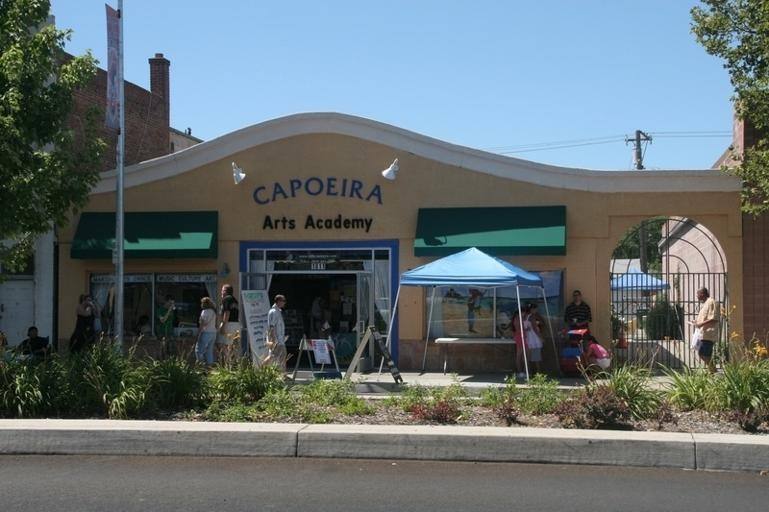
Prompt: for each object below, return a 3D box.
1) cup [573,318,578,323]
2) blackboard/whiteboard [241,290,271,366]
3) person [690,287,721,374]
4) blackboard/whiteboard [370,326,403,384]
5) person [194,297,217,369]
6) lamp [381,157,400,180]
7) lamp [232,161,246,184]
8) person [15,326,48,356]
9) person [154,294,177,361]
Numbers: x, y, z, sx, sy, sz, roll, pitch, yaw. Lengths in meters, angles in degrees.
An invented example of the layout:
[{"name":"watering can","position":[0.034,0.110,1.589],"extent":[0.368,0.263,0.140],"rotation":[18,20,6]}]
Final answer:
[{"name":"cup","position":[5.095,1.767,29.994],"extent":[0.084,0.125,0.038],"rotation":[0,-2,24]},{"name":"blackboard/whiteboard","position":[-3.329,1.873,29.150],"extent":[0.110,2.379,1.654],"rotation":[-3,3,21]},{"name":"person","position":[8.243,1.874,28.738],"extent":[0.669,2.180,1.496],"rotation":[-2,-10,16]},{"name":"blackboard/whiteboard","position":[0.058,2.705,29.905],"extent":[0.182,1.432,0.220],"rotation":[-9,-16,-45]},{"name":"person","position":[-4.694,2.016,29.455],"extent":[0.479,1.791,1.050],"rotation":[2,-10,-9]},{"name":"lamp","position":[0.151,-2.399,31.272],"extent":[0.510,0.601,0.428],"rotation":[0,-10,3]},{"name":"lamp","position":[-4.171,-2.337,31.893],"extent":[0.397,0.658,0.312],"rotation":[-1,-10,7]},{"name":"person","position":[-9.413,2.319,30.019],"extent":[0.672,1.144,0.349],"rotation":[0,-11,-25]},{"name":"person","position":[-6.199,2.021,31.929],"extent":[0.550,1.783,0.663],"rotation":[3,-10,-17]}]
